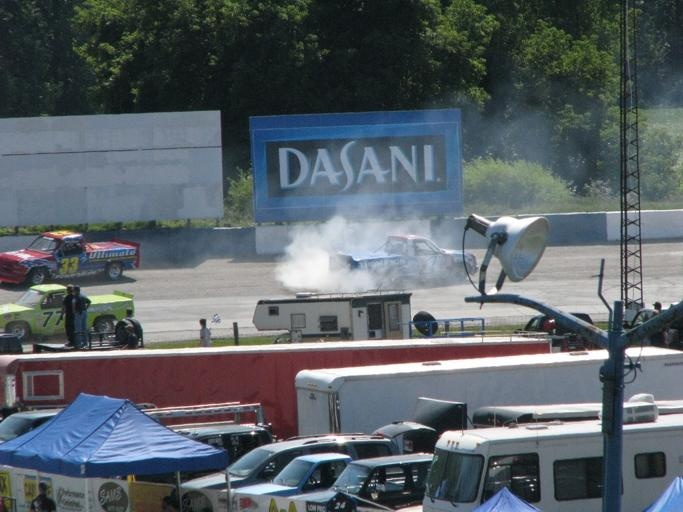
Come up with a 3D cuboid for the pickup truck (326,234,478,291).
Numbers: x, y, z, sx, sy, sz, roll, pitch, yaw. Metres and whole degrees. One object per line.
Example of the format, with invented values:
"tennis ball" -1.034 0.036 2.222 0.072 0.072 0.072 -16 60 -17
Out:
"pickup truck" 3.492 0.262 126.910 7.674 2.507 1.952 -3 1 -35
